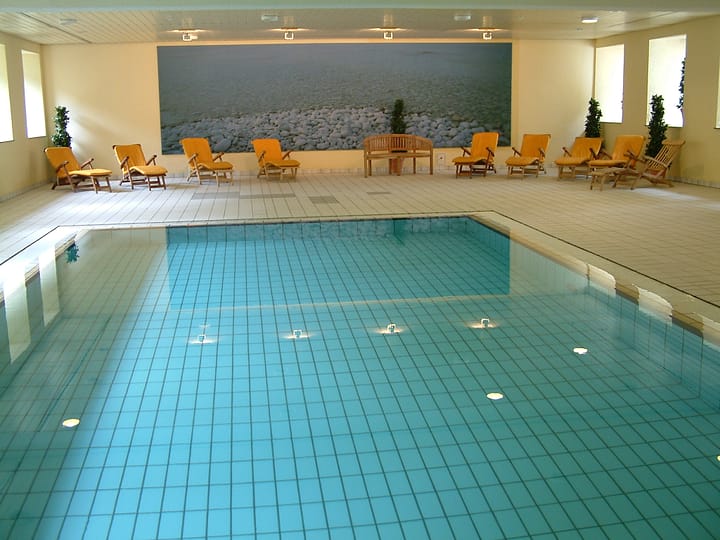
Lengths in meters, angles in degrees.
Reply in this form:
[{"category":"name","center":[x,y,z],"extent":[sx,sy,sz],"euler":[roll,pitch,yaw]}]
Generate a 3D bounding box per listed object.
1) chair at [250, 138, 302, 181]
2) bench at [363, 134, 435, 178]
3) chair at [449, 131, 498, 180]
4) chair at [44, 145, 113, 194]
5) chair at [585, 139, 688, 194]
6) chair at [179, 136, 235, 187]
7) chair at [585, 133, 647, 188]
[{"category":"chair","center":[-2.420,-3.203,13.220],"extent":[0.962,0.816,1.311],"euler":[-18,36,-32]},{"category":"bench","center":[1.063,-3.520,13.900],"extent":[2.150,0.964,0.642],"euler":[-7,27,-16]},{"category":"chair","center":[3.319,-3.387,13.375],"extent":[0.902,0.916,1.285],"euler":[17,37,34]},{"category":"chair","center":[-7.310,-2.648,12.043],"extent":[1.641,0.754,0.721],"euler":[14,27,20]},{"category":"chair","center":[6.753,-2.539,11.291],"extent":[2.659,1.195,1.316],"euler":[-3,15,0]},{"category":"chair","center":[-4.287,-3.078,12.988],"extent":[1.589,0.897,0.897],"euler":[25,36,38]},{"category":"chair","center":[6.299,-2.804,11.594],"extent":[1.516,0.900,0.808],"euler":[-22,29,-20]}]
